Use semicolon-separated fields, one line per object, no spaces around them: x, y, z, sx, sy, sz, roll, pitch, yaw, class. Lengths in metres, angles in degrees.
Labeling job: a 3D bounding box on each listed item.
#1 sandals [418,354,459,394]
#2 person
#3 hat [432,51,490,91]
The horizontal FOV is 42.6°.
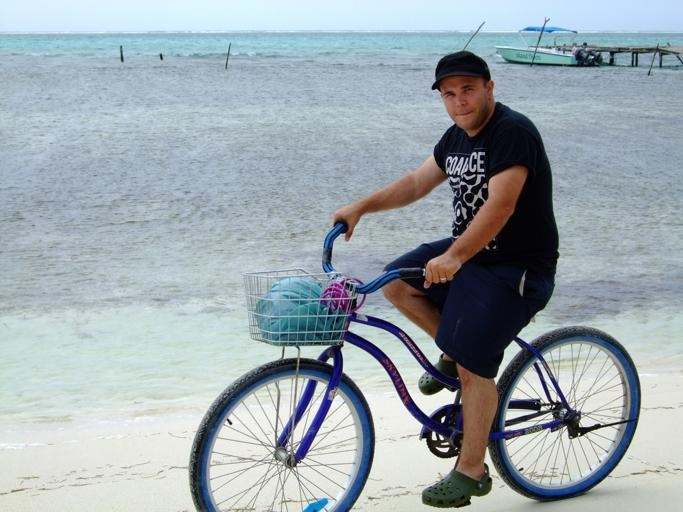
0.792;0.921;6.883;0.453;0.203;0.177;-12;15;12;sandals
0.955;0.142;6.619;1.364;3.328;1.539;0;20;-11;person
0.944;-1.421;6.572;0.521;0.162;0.313;-8;-4;1;hat
